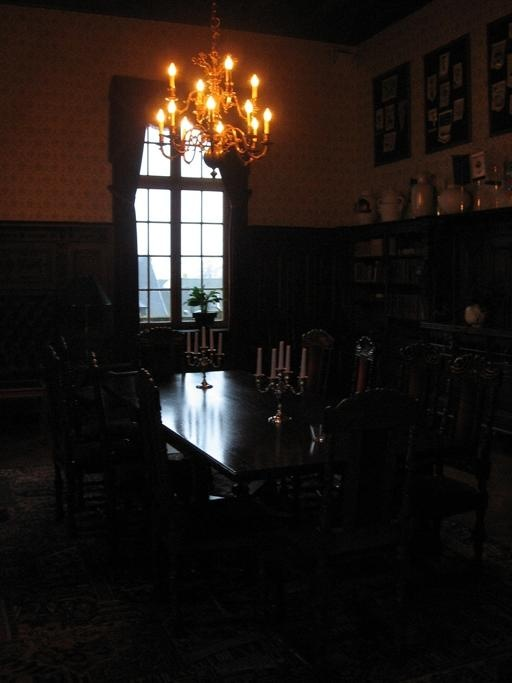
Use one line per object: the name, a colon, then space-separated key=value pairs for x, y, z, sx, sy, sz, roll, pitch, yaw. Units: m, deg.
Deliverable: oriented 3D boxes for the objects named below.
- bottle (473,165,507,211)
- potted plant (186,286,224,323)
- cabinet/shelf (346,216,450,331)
bottle: x=1.738 y=-1.116 z=4.360 sx=0.260 sy=0.315 sz=0.208 roll=0 pitch=0 yaw=22
potted plant: x=-0.486 y=-0.337 z=5.621 sx=0.304 sy=0.362 sz=0.319 roll=-1 pitch=1 yaw=-27
cabinet/shelf: x=1.263 y=-0.612 z=5.144 sx=0.218 sy=0.676 sz=1.043 roll=0 pitch=1 yaw=-12
